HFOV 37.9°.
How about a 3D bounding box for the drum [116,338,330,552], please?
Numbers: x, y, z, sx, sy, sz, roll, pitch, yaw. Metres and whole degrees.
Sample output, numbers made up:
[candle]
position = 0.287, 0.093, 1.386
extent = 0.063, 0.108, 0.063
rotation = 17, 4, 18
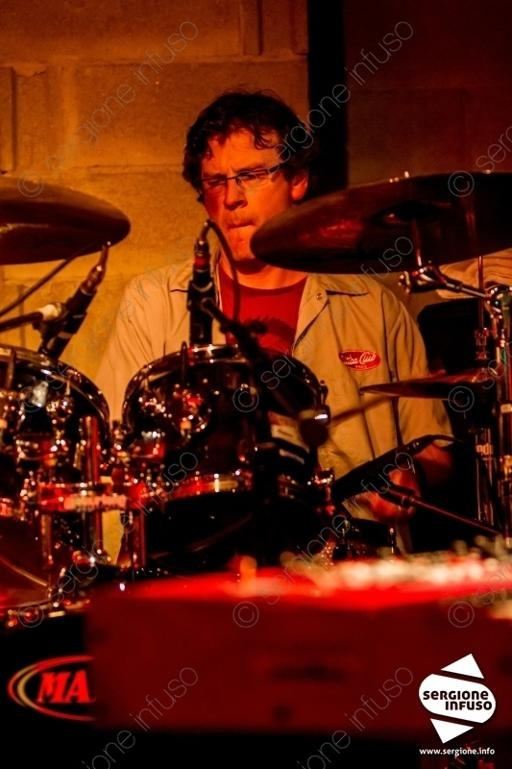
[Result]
[drum]
position = -0.075, 0.126, 1.579
extent = 0.476, 0.397, 0.317
rotation = -1, 44, -10

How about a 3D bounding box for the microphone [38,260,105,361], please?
[microphone]
position = -0.486, -0.191, 1.959
extent = 0.366, 0.062, 0.092
rotation = -48, -8, 26
